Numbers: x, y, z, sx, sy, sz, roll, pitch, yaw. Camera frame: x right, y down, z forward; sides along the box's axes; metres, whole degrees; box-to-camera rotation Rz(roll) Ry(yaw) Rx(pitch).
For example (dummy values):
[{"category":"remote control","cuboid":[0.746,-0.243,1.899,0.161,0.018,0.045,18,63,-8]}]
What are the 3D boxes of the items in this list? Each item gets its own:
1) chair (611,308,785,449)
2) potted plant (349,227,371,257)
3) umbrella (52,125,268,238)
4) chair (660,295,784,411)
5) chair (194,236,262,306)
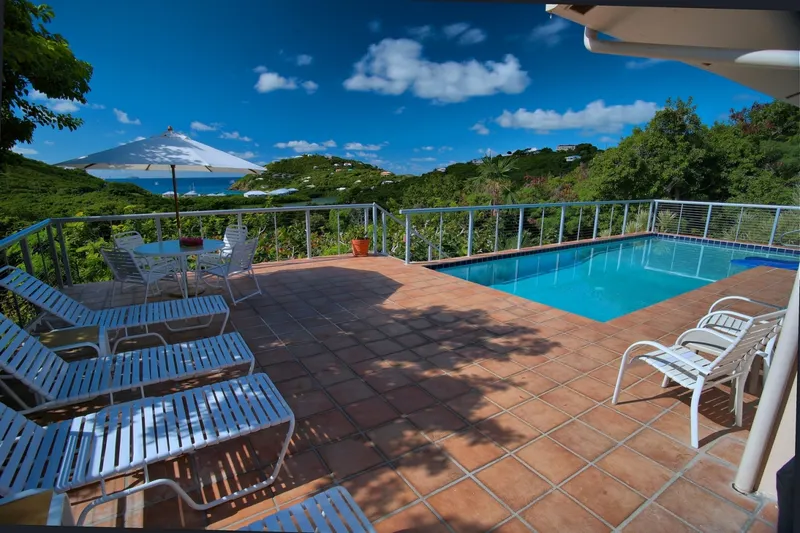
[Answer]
[{"category":"chair","cuboid":[2.514,1.007,3.259,0.863,1.016,0.810,-17,26,-13]},{"category":"potted plant","cuboid":[-0.877,-0.564,8.352,0.394,0.611,0.683,-3,12,-5]},{"category":"umbrella","cuboid":[-3.588,-1.380,5.983,2.566,1.452,2.134,-4,13,-24]},{"category":"chair","cuboid":[2.861,0.818,3.462,0.806,0.818,0.658,-19,30,-14]},{"category":"chair","cuboid":[-2.584,0.088,5.742,0.872,1.007,0.692,36,38,14]}]
